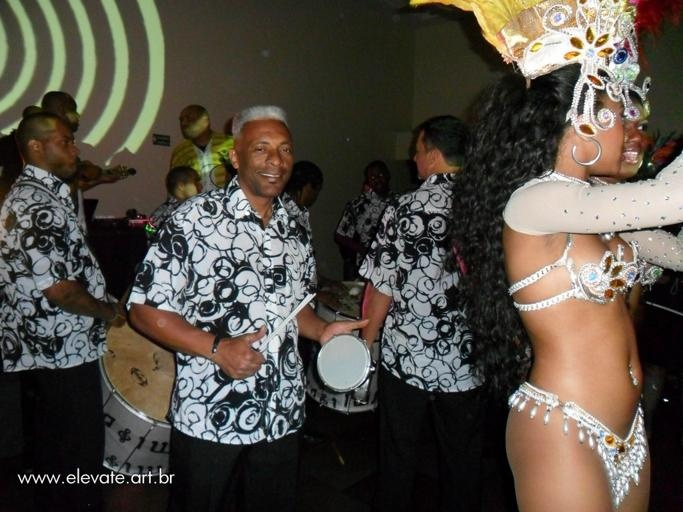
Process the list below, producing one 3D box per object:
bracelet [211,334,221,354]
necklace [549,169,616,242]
[{"bbox_3d":[-0.418,0.295,1.806,0.029,0.052,0.048,15,21,6],"label":"bracelet"},{"bbox_3d":[0.680,-0.126,1.543,0.159,0.230,0.076,5,-1,43],"label":"necklace"}]
